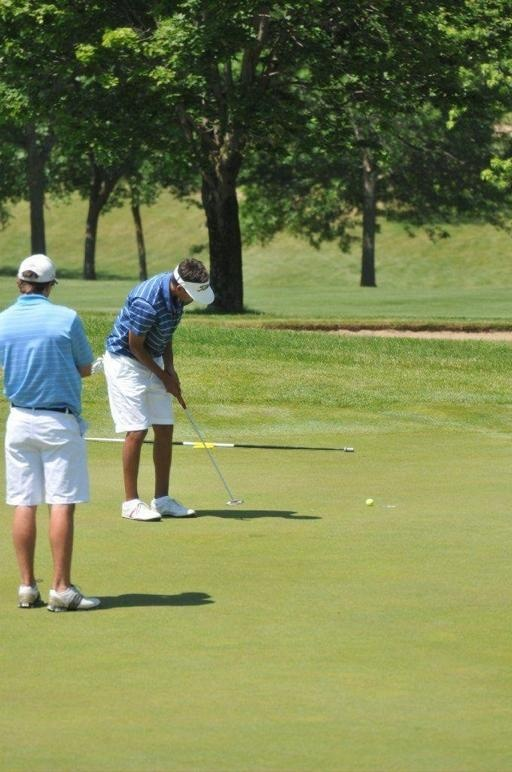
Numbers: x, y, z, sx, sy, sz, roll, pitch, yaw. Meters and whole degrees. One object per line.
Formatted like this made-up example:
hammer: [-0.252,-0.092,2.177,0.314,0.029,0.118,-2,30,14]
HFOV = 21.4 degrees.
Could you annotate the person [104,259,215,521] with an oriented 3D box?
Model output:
person: [-0.570,0.015,7.770,0.725,1.424,0.516,0,1,31]
